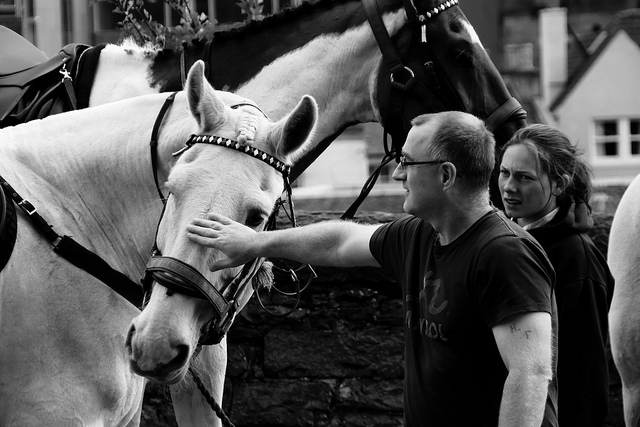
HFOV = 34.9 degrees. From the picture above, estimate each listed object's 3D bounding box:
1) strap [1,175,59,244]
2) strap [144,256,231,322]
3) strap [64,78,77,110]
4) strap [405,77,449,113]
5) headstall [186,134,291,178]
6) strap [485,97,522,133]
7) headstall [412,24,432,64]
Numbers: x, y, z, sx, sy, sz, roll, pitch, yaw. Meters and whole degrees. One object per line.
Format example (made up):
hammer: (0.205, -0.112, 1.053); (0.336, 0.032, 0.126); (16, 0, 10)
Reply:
strap: (-1.607, -0.027, 5.893); (0.360, 0.400, 0.216); (5, 3, 37)
strap: (-0.698, 0.361, 5.522); (0.391, 0.095, 0.290); (37, -28, -16)
strap: (-1.656, -0.814, 6.862); (0.062, 0.231, 0.062); (-19, -7, 14)
strap: (0.731, -0.830, 7.050); (0.278, 0.230, 0.038); (2, 9, 6)
headstall: (-0.571, -0.427, 5.817); (0.464, 0.093, 0.397); (12, 3, 26)
strap: (1.259, -0.699, 7.131); (0.327, 0.081, 0.182); (-41, 5, -19)
headstall: (0.703, -1.165, 7.050); (0.077, 0.337, 0.083); (-17, 16, 10)
